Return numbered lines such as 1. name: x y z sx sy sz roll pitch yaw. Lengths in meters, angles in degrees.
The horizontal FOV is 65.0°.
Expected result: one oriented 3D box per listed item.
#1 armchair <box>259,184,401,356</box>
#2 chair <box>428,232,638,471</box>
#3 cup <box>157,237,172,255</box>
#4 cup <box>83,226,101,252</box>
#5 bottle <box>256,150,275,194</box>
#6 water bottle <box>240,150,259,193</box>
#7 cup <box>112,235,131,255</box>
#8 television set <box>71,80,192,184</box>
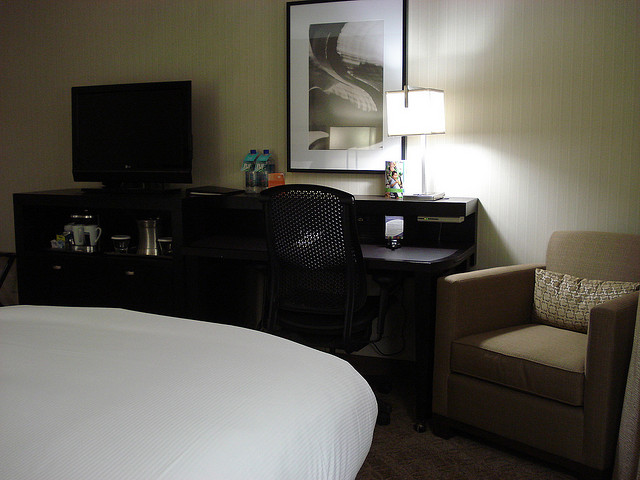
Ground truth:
1. armchair: 0.058 0.144 2.522 0.500 0.963 0.549 3 7 24
2. chair: 1.080 0.397 2.641 0.912 1.148 1.020 4 6 43
3. cup: -0.937 0.036 3.042 0.089 0.088 0.091 0 3 0
4. cup: -1.464 -0.013 3.212 0.137 0.153 0.103 2 8 5
5. bottle: -0.367 -0.447 3.342 0.119 0.366 0.145 6 -27 -10
6. water bottle: -0.472 -0.476 3.367 0.132 0.348 0.179 1 0 -18
7. cup: -1.261 0.028 3.216 0.107 0.124 0.111 2 7 0
8. television set: -1.260 -0.711 3.334 0.939 0.679 0.151 7 15 19
